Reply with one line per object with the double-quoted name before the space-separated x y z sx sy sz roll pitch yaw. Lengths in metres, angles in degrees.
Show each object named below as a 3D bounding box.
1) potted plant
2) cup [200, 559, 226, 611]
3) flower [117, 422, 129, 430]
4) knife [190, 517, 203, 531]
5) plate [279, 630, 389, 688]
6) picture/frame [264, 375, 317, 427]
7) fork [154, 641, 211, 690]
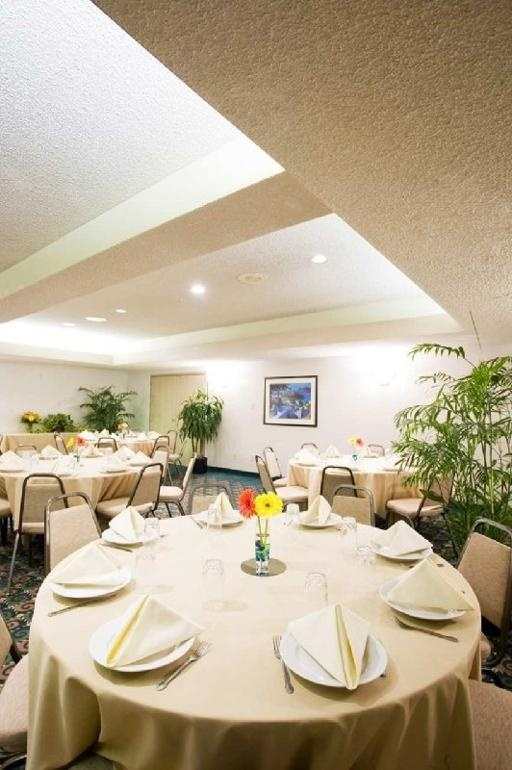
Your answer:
"potted plant" -1.069 0.899 9.237 0.821 1.326 0.821 -3 -7 -5
"cup" -0.143 0.618 1.666 0.054 0.096 0.057 4 -28 2
"flower" -2.566 0.781 9.839 0.188 0.163 0.190 13 1 25
"knife" -0.285 0.647 2.449 0.022 0.031 0.205 -5 7 -13
"plate" 0.188 0.695 1.275 0.266 0.053 0.198 -1 0 4
"picture/frame" 0.522 0.250 7.975 0.149 0.789 1.106 -2 1 -41
"fork" -0.173 0.697 1.319 0.035 0.035 0.237 13 16 26
